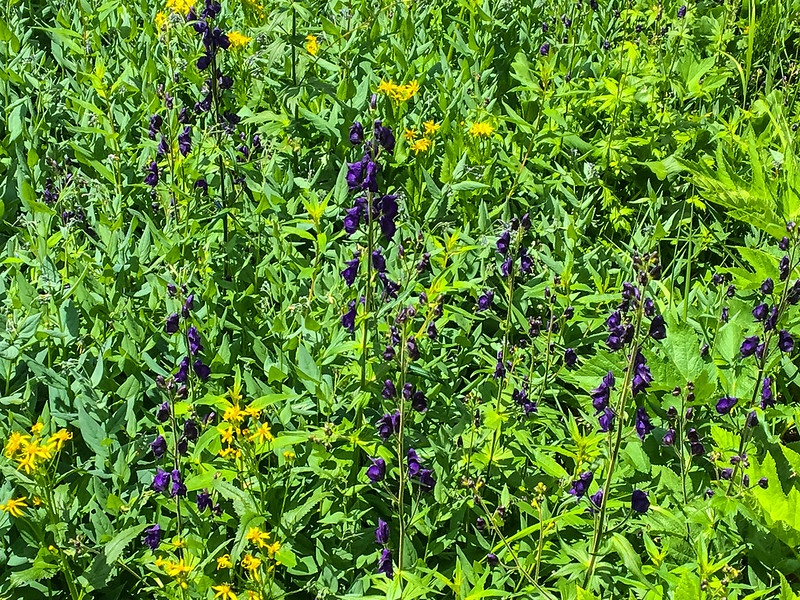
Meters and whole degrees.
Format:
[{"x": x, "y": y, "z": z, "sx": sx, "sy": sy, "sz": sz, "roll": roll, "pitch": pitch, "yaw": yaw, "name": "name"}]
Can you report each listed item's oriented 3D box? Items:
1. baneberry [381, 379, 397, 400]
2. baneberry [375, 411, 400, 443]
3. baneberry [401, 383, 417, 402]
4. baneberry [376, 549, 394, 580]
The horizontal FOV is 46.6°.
[{"x": -0.054, "y": 0.419, "z": 4.423, "sx": 0.062, "sy": 0.114, "sz": 0.104, "roll": 0, "pitch": 40, "yaw": -3, "name": "baneberry"}, {"x": -0.056, "y": 0.608, "z": 4.499, "sx": 0.051, "sy": 0.146, "sz": 0.126, "roll": 8, "pitch": -9, "yaw": 22, "name": "baneberry"}, {"x": 0.038, "y": 0.433, "z": 4.354, "sx": 0.061, "sy": 0.108, "sz": 0.036, "roll": -2, "pitch": 2, "yaw": 3, "name": "baneberry"}, {"x": -0.064, "y": 1.217, "z": 4.297, "sx": 0.074, "sy": 0.153, "sz": 0.182, "roll": -3, "pitch": 7, "yaw": -1, "name": "baneberry"}]
